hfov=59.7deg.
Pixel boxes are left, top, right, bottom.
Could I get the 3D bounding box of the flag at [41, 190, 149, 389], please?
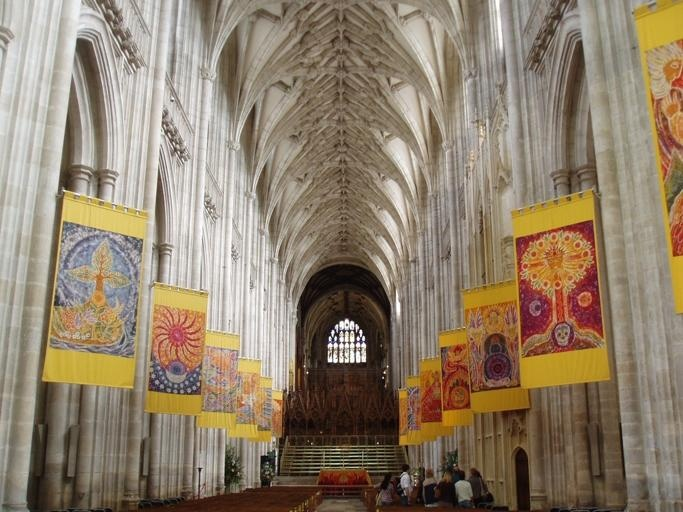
[{"bbox_3d":[-4.182,0.523,10.146,0.447,3.169,1.653,-15,-24,35],"label":"flag"}]
